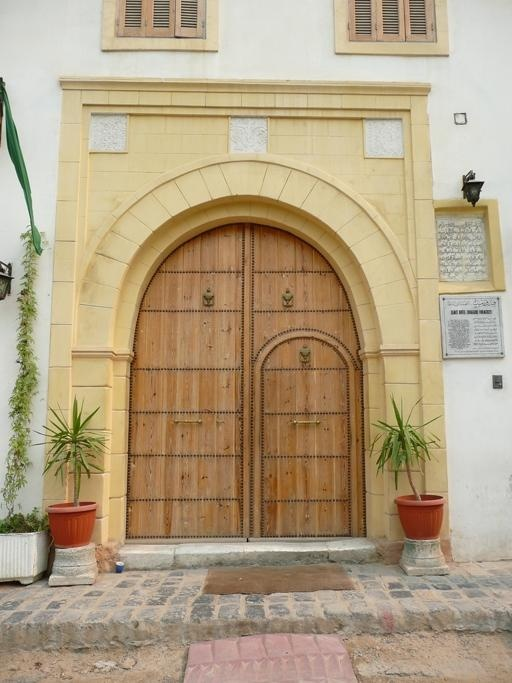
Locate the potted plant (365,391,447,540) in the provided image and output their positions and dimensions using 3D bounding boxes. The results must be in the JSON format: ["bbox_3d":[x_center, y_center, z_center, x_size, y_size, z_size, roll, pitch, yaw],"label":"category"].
[{"bbox_3d":[1.226,1.042,5.097,0.604,1.166,0.587,-4,-8,15],"label":"potted plant"}]

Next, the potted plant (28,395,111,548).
[{"bbox_3d":[-1.479,1.053,4.960,0.546,1.174,0.627,0,-8,-15],"label":"potted plant"}]

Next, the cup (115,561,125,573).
[{"bbox_3d":[-1.113,1.842,5.041,0.072,0.078,0.072,7,12,-1],"label":"cup"}]
